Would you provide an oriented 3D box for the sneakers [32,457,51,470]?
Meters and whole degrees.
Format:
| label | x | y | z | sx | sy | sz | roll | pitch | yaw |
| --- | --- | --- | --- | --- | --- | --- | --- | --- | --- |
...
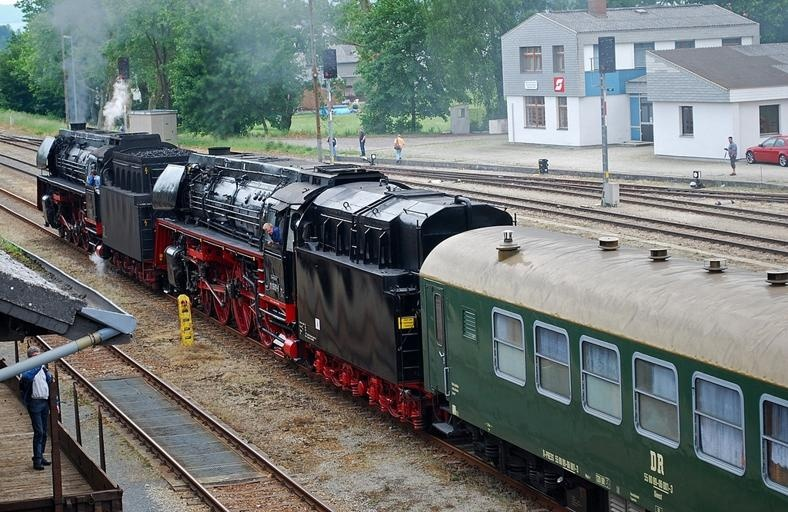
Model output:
| label | x | y | z | sx | sy | sz | roll | pitch | yaw |
| --- | --- | --- | --- | --- | --- | --- | --- | --- | --- |
| sneakers | -6.122 | 3.667 | 14.123 | 0.411 | 0.186 | 0.136 | 0 | 7 | 23 |

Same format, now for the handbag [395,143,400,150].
| label | x | y | z | sx | sy | sz | roll | pitch | yaw |
| --- | --- | --- | --- | --- | --- | --- | --- | --- | --- |
| handbag | 0.182 | -6.844 | 50.439 | 0.225 | 0.310 | 0.822 | -4 | 18 | -24 |

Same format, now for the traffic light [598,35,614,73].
| label | x | y | z | sx | sy | sz | roll | pitch | yaw |
| --- | --- | --- | --- | --- | --- | --- | --- | --- | --- |
| traffic light | 8.499 | -8.069 | 32.342 | 0.528 | 1.337 | 0.675 | -1 | 13 | 8 |
